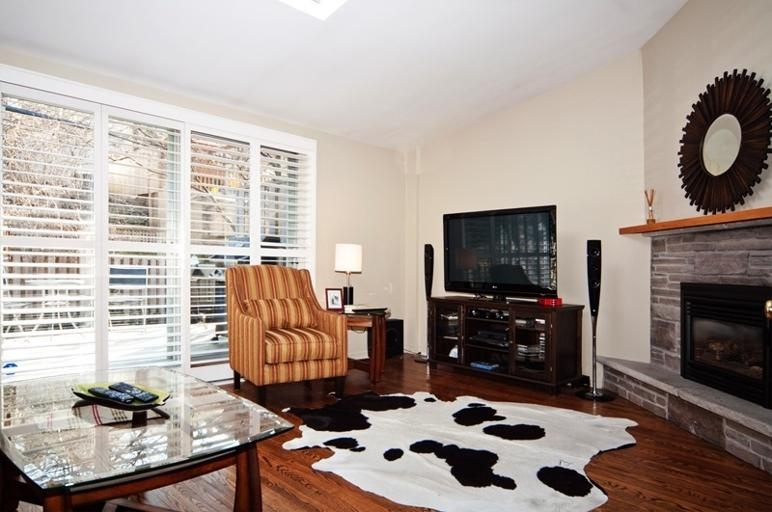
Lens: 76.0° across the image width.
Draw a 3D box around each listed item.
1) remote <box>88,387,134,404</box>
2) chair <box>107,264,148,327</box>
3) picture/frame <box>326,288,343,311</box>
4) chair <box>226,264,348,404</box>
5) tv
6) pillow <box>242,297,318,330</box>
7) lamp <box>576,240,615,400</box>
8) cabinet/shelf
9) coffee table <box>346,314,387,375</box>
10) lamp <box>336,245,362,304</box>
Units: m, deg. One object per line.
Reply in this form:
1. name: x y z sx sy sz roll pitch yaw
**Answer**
1. remote: -1.633 0.821 2.962 0.352 0.042 0.100 7 9 17
2. chair: -2.427 0.381 4.664 0.358 0.568 0.219 -4 9 -23
3. picture/frame: -0.557 0.475 5.308 0.259 0.265 0.023 1 -10 -23
4. chair: -1.096 0.672 4.913 1.249 1.544 1.306 1 -6 -30
5. tv: 1.256 -0.006 5.249 1.265 0.788 0.128 0 2 40
6. pillow: -0.988 0.545 4.697 0.762 0.260 0.283 -1 -13 -29
7. lamp: 2.045 0.594 4.748 0.284 1.493 0.725 3 9 22
8. cabinet/shelf: 1.309 0.949 5.463 0.547 0.797 1.825 4 -5 -33
9. coffee table: -0.203 0.956 5.248 0.394 0.747 0.537 -1 8 -3
10. lamp: -0.409 0.227 5.502 0.355 0.663 0.326 -3 -9 12
